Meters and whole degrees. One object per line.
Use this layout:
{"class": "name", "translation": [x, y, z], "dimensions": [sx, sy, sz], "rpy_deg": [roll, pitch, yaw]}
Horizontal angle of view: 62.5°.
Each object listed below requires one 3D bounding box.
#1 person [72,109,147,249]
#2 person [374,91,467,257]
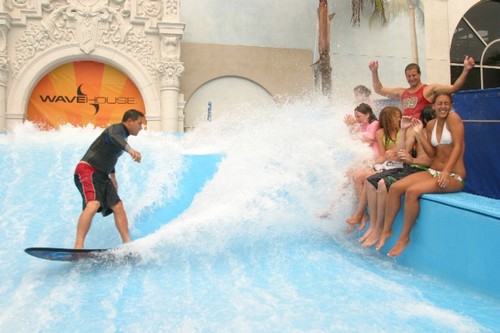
{"class": "person", "translation": [-2.186, 0.180, 6.389], "dimensions": [1.126, 2.076, 0.844], "rpy_deg": [-5, 8, -23]}
{"class": "person", "translation": [2.510, 0.143, 5.959], "dimensions": [1.122, 2.332, 0.484], "rpy_deg": [-3, 8, -9]}
